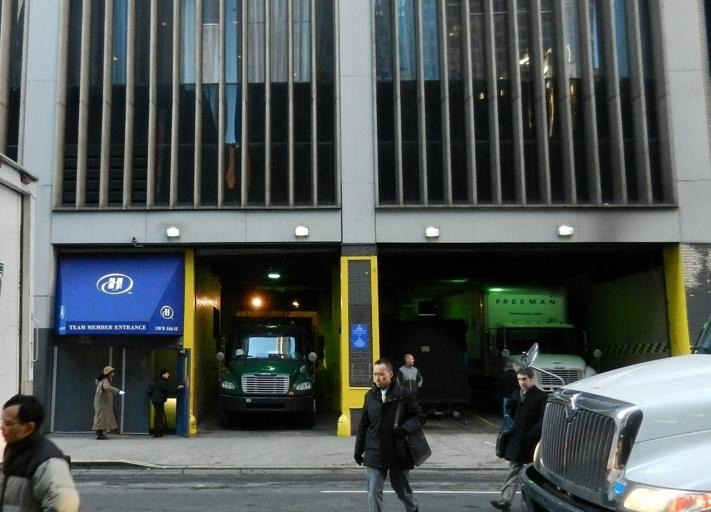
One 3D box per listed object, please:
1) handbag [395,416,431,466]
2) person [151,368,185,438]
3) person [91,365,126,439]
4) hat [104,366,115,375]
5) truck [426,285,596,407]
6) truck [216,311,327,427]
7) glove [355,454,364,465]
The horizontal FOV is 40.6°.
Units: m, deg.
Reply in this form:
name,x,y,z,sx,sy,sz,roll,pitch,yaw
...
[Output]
name,x,y,z,sx,sy,sz,roll,pitch,yaw
handbag,1.017,3.479,17.933,0.450,0.908,0.633,-22,3,44
person,-5.340,4.127,27.026,0.860,1.864,1.346,-2,-9,-11
person,-6.782,3.996,26.369,0.842,2.030,1.220,-1,-9,-14
hat,-6.701,3.105,26.067,0.256,0.199,0.291,0,-10,-22
truck,5.490,3.038,32.478,3.050,3.938,8.052,-2,-1,-9
truck,-2.768,3.912,30.588,2.916,3.239,5.917,2,-11,-6
glove,0.059,3.823,17.979,0.130,0.130,0.146,-1,-12,0
